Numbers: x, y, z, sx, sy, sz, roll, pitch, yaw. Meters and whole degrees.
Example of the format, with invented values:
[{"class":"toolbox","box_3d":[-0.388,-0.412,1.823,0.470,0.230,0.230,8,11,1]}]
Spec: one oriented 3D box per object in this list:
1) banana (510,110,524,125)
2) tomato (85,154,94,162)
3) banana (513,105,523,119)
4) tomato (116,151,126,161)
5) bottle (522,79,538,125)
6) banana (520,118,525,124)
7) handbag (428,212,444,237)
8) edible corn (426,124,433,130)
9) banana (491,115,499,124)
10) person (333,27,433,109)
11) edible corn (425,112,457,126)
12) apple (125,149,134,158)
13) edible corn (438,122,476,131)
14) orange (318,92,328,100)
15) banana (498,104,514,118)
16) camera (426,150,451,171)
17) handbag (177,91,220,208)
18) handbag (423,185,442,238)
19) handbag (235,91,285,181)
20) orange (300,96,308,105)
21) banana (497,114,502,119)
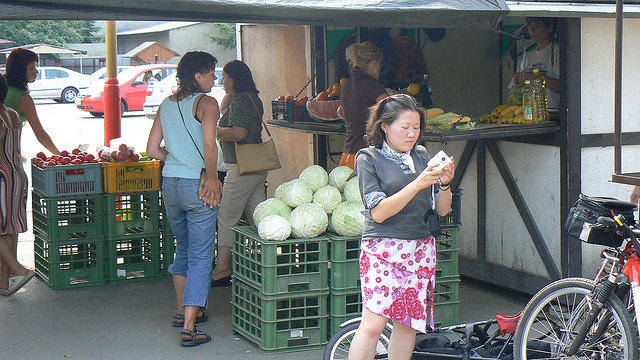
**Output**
[{"class":"banana","box_3d":[2.445,-0.770,8.814,0.193,0.091,0.066,-31,49,0]},{"class":"tomato","box_3d":[-3.073,-0.299,9.607,0.096,0.091,0.095,2,-4,20]},{"class":"banana","box_3d":[2.446,-0.851,8.893,0.184,0.051,0.055,-44,30,-21]},{"class":"tomato","box_3d":[-2.644,-0.327,9.556,0.110,0.112,0.134,29,21,25]},{"class":"bottle","box_3d":[2.565,-0.967,8.790,0.176,0.513,0.413,0,12,15]},{"class":"banana","box_3d":[2.466,-0.730,8.777,0.053,0.066,0.072,2,12,23]},{"class":"handbag","box_3d":[1.099,0.410,6.773,0.097,0.243,0.262,2,13,25]},{"class":"edible corn","box_3d":[1.310,-0.646,8.603,0.087,0.057,0.047,1,-5,-22]},{"class":"banana","box_3d":[2.204,-0.774,9.053,0.097,0.103,0.040,4,8,13]},{"class":"person","box_3d":[0.931,-1.542,9.728,0.886,0.794,1.540,-2,-30,1]},{"class":"edible corn","box_3d":[1.409,-0.727,8.592,0.571,0.139,0.181,-11,14,-37]},{"class":"apple","box_3d":[-2.547,-0.360,9.623,0.102,0.105,0.074,-2,12,6]},{"class":"edible corn","box_3d":[1.639,-0.642,8.655,0.502,0.142,0.126,-3,4,-15]},{"class":"orange","box_3d":[0.048,-1.231,10.401,0.123,0.086,0.122,-1,-4,15]},{"class":"banana","box_3d":[2.329,-0.869,9.016,0.258,0.068,0.053,-41,10,-19]},{"class":"camera","box_3d":[1.075,-0.186,6.568,0.203,0.158,0.188,-6,12,-14]},{"class":"handbag","box_3d":[-1.383,-0.305,8.116,0.450,1.248,0.177,8,16,42]},{"class":"handbag","box_3d":[1.060,0.316,6.791,0.260,0.418,0.113,0,-1,2]},{"class":"handbag","box_3d":[-0.867,-0.671,9.696,0.562,1.137,1.363,-4,12,-5]},{"class":"orange","box_3d":[-0.231,-1.146,10.306,0.107,0.083,0.197,-3,12,0]},{"class":"banana","box_3d":[2.250,-0.805,9.007,0.054,0.053,0.013,-5,-16,37]}]
